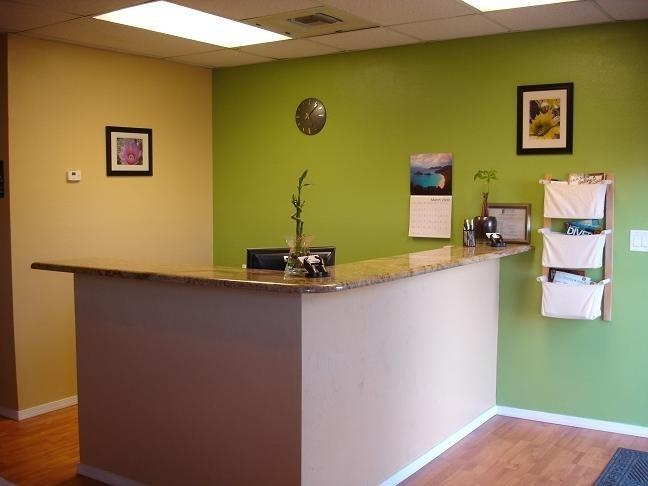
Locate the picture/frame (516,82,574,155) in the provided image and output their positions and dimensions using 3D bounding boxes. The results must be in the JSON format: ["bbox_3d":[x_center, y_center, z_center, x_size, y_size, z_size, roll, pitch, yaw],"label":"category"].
[{"bbox_3d":[1.773,-1.002,4.015,0.424,0.597,0.051,1,-10,19],"label":"picture/frame"}]

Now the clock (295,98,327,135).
[{"bbox_3d":[-0.129,-1.270,4.985,0.343,0.367,0.064,4,6,37],"label":"clock"}]

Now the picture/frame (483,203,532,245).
[{"bbox_3d":[1.519,-0.156,4.101,0.314,0.336,0.025,3,7,34],"label":"picture/frame"}]

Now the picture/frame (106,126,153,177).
[{"bbox_3d":[-1.888,-0.888,4.773,0.035,0.518,0.507,1,2,44],"label":"picture/frame"}]
